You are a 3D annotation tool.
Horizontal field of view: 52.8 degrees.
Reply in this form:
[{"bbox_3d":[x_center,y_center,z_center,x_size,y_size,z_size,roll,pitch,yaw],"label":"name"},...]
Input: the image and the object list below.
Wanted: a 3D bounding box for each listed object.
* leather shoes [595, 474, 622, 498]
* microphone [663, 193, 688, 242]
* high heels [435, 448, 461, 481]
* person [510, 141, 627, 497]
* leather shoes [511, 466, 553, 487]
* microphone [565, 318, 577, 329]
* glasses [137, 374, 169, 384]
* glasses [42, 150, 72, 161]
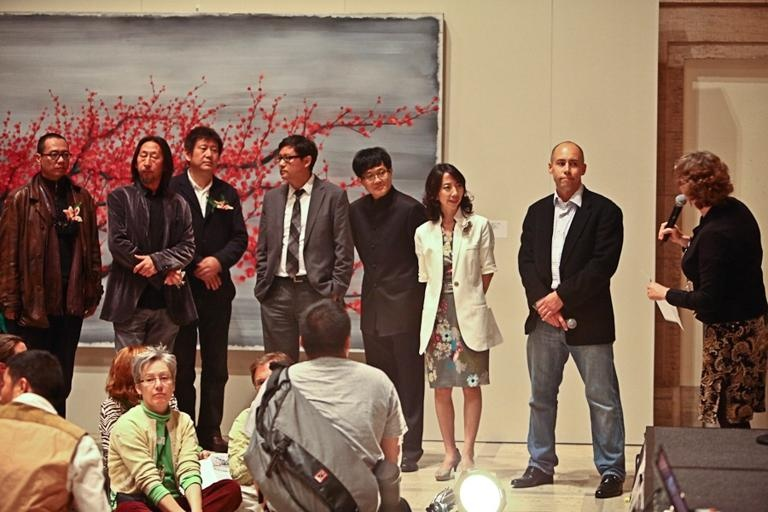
[{"bbox_3d":[1.453,1.474,4.960,0.209,0.146,0.077,1,-3,-12],"label":"leather shoes"},{"bbox_3d":[2.051,-0.261,5.434,0.102,0.364,0.101,23,4,16],"label":"microphone"},{"bbox_3d":[0.438,1.450,5.250,0.098,0.198,0.292,-7,-15,28],"label":"high heels"},{"bbox_3d":[1.207,0.521,5.097,0.714,2.056,0.301,0,-3,15],"label":"person"},{"bbox_3d":[0.984,1.482,5.193,0.335,0.141,0.112,0,-6,-16],"label":"leather shoes"},{"bbox_3d":[1.212,0.440,5.003,0.059,0.057,0.068,-5,22,6],"label":"microphone"},{"bbox_3d":[-1.287,0.699,4.365,0.151,0.047,0.040,1,-3,-14],"label":"glasses"},{"bbox_3d":[-2.228,-0.692,5.283,0.174,0.078,0.062,3,-4,-34],"label":"glasses"}]
